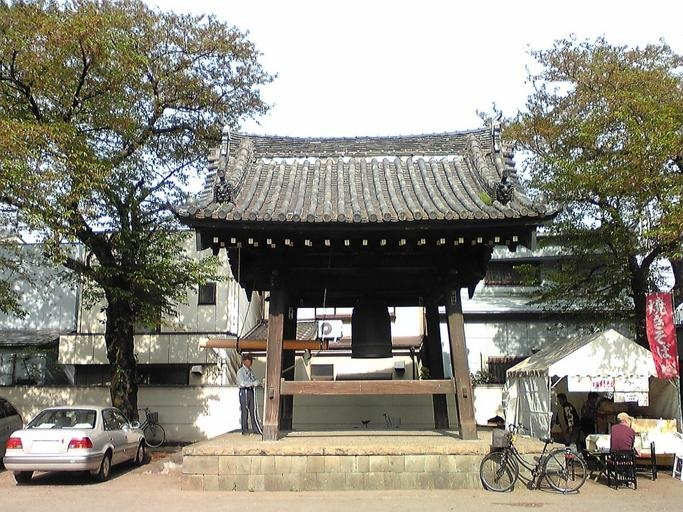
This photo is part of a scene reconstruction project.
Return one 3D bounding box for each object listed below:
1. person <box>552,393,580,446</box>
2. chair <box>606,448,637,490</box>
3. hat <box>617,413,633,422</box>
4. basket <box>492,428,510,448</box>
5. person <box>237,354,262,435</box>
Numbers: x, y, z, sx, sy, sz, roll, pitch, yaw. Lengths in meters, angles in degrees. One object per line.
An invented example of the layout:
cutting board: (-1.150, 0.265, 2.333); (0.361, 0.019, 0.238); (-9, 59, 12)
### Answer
person: (6.849, 4.915, 20.374); (0.646, 0.725, 2.098); (7, -48, 25)
chair: (6.818, 5.178, 16.235); (0.682, 1.403, 0.875); (0, -8, 12)
hat: (7.229, 4.132, 17.034); (0.356, 0.231, 0.263); (10, -4, 1)
basket: (3.667, 4.254, 15.435); (0.395, 0.456, 0.342); (3, 12, 15)
person: (-2.559, 3.892, 18.479); (0.567, 2.321, 1.113); (-2, 12, -8)
